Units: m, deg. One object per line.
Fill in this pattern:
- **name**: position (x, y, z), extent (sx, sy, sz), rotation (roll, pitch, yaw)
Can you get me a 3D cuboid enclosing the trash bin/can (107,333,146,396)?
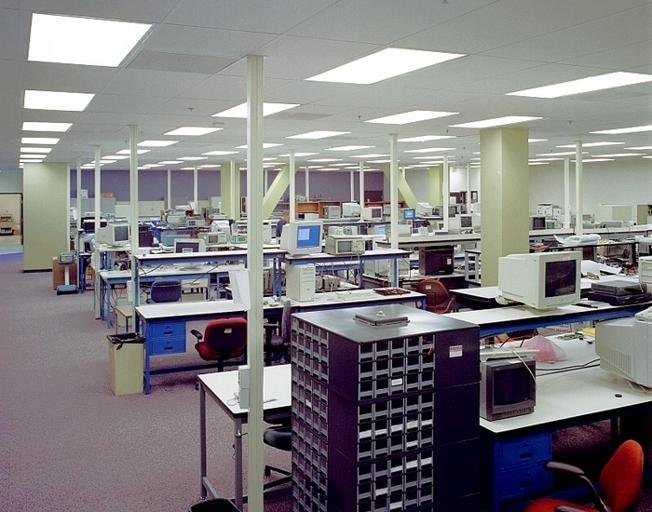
- **trash bin/can**: position (-2.361, 1.232, 6.125), extent (0.548, 0.856, 0.546), rotation (0, 0, -29)
